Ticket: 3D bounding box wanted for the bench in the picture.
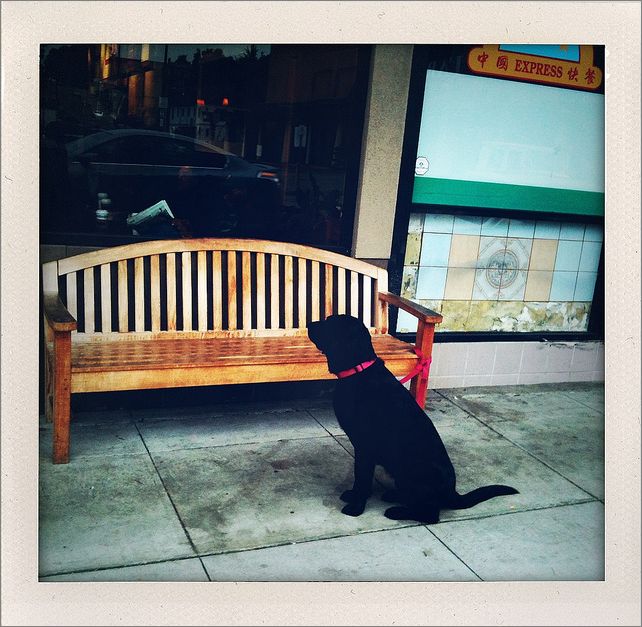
[{"bbox_3d":[-0.500,0.188,3.796,2.191,1.194,0.835,-1,12,-23],"label":"bench"}]
